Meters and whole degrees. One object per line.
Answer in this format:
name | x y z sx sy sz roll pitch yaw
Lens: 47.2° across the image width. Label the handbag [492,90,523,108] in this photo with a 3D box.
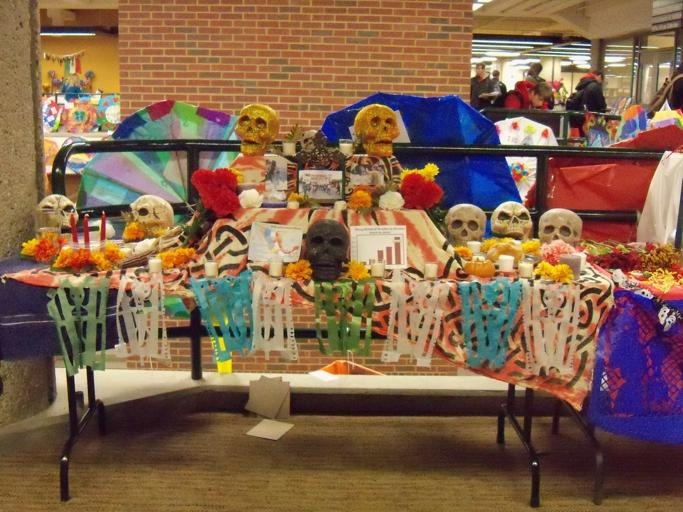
handbag | 1.826 -1.706 8.579 0.253 0.276 0.267 -2 11 -5
